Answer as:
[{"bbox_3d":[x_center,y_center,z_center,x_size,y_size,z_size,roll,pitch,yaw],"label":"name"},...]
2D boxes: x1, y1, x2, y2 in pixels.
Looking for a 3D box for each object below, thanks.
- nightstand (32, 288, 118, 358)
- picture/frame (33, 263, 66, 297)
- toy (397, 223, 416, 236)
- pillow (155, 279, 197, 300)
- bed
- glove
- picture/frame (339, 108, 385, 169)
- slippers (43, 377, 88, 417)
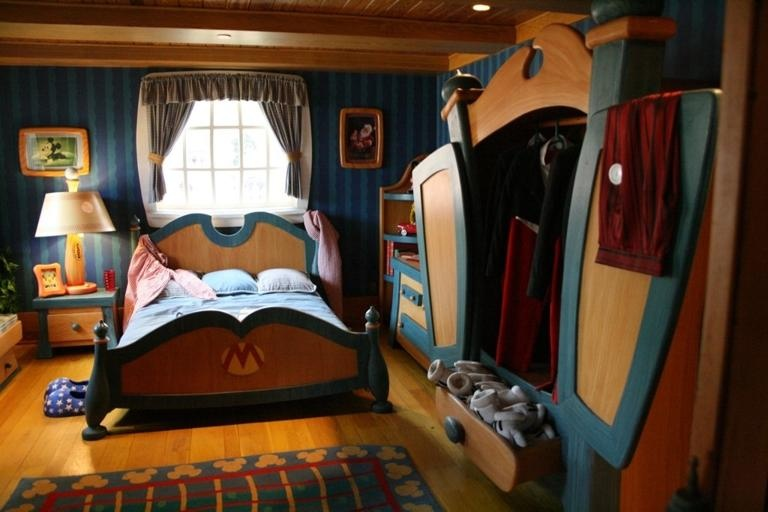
[{"bbox_3d":[-2.624,0.458,4.805,0.679,0.519,0.598,-1,3,-20],"label":"nightstand"},{"bbox_3d":[-2.876,0.197,4.771,0.254,0.342,0.044,-12,-12,-38],"label":"picture/frame"},{"bbox_3d":[0.227,-0.249,5.126,0.151,0.054,0.085,0,15,-3],"label":"toy"},{"bbox_3d":[-1.741,0.275,4.644,0.188,0.054,0.177,3,51,-20],"label":"pillow"},{"bbox_3d":[-1.150,0.349,4.378,1.958,1.066,2.113,-3,14,-15],"label":"bed"},{"bbox_3d":[0.544,0.647,2.756,0.300,0.171,0.515,3,14,-28],"label":"glove"},{"bbox_3d":[-0.228,-1.175,5.490,0.575,0.760,0.077,-1,4,-15],"label":"picture/frame"},{"bbox_3d":[-2.159,0.946,3.761,0.364,0.109,0.288,-1,16,-33],"label":"slippers"}]
